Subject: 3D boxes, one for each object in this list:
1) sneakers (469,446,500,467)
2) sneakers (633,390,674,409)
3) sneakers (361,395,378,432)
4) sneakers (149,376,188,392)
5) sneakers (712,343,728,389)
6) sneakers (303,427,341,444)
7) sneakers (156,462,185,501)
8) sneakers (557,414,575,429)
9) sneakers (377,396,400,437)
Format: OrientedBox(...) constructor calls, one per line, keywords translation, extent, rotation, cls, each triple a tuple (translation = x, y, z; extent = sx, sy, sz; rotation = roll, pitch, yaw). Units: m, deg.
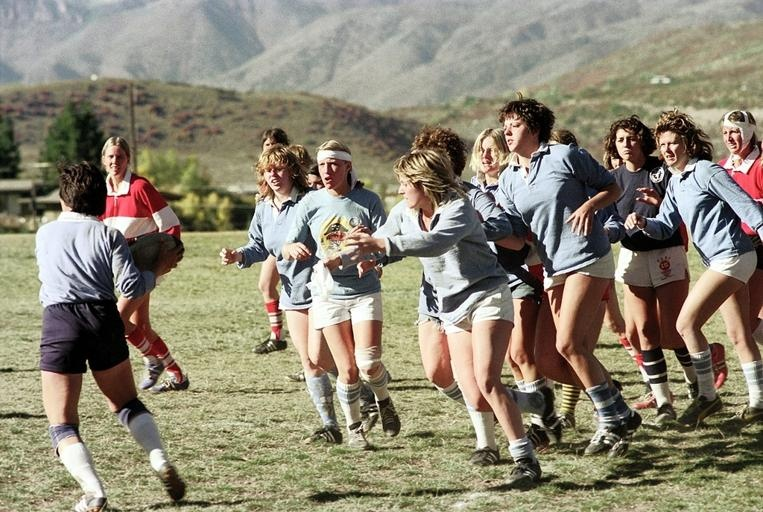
OrientedBox(translation=(1.103, 2.197, 13.463), extent=(0.316, 0.132, 0.176), rotation=(3, -4, -13), cls="sneakers")
OrientedBox(translation=(3.158, 1.730, 14.851), extent=(0.616, 0.241, 0.201), rotation=(2, -5, -5), cls="sneakers")
OrientedBox(translation=(-0.146, 1.814, 14.373), extent=(0.153, 0.446, 0.194), rotation=(-6, -4, 15), cls="sneakers")
OrientedBox(translation=(-2.652, 1.622, 15.558), extent=(0.493, 0.202, 0.173), rotation=(2, -6, -5), cls="sneakers")
OrientedBox(translation=(4.027, 1.341, 14.861), extent=(0.192, 0.532, 0.236), rotation=(9, 27, 43), cls="sneakers")
OrientedBox(translation=(-0.708, 2.045, 14.104), extent=(0.477, 0.197, 0.162), rotation=(5, -4, 0), cls="sneakers")
OrientedBox(translation=(-2.193, 2.390, 12.974), extent=(0.276, 0.388, 0.234), rotation=(-6, -1, -11), cls="sneakers")
OrientedBox(translation=(2.102, 1.913, 14.251), extent=(0.200, 0.195, 0.141), rotation=(2, -11, -36), cls="sneakers")
OrientedBox(translation=(0.075, 1.859, 14.317), extent=(0.182, 0.492, 0.203), rotation=(-21, -24, 9), cls="sneakers")
